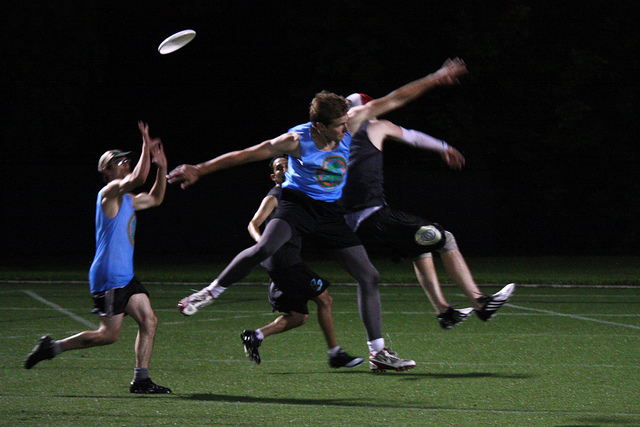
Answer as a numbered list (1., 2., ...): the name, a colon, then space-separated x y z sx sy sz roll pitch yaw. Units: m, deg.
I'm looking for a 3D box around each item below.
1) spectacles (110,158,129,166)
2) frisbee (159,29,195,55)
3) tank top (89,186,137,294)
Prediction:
1. spectacles: -2.195 -0.572 6.944 0.102 0.032 0.090 -21 -6 34
2. frisbee: -2.010 -2.454 8.883 0.438 0.416 0.526 -1 0 5
3. tank top: -2.252 0.282 6.833 0.472 1.140 0.240 -1 -1 -17
